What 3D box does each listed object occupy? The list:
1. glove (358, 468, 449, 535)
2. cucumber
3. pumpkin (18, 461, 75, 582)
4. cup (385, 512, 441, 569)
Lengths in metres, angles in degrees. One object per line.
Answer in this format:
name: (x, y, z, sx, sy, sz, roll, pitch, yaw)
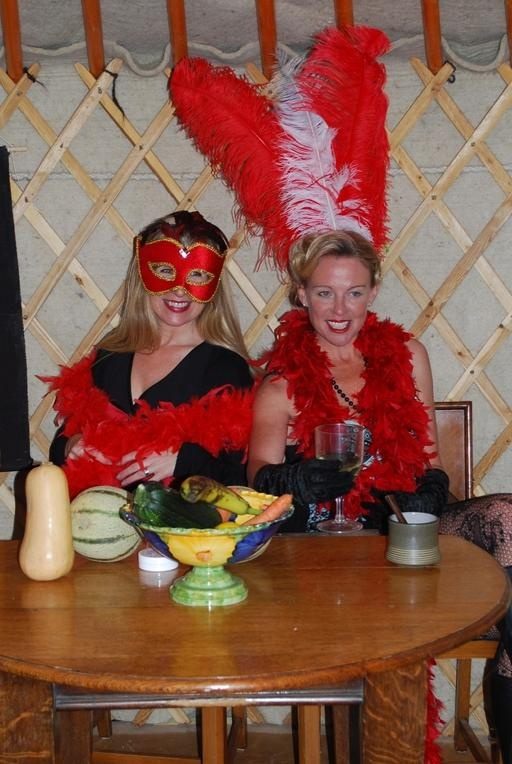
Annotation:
glove: (0.344, 0.252, 1.597, 0.242, 0.135, 0.299, 0, 10, 6)
cucumber: (-0.106, 0.165, 0.971, 0.152, 0.056, 0.068, 6, -8, -40)
pumpkin: (-0.293, 0.194, 1.039, 0.097, 0.145, 0.059, 0, 1, -36)
cup: (0.226, 0.229, 1.109, 0.082, 0.068, 0.102, 2, 8, 16)
